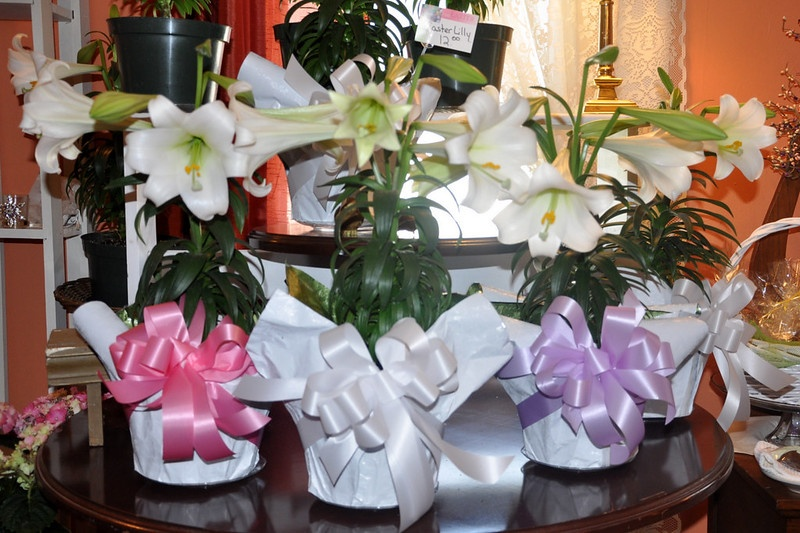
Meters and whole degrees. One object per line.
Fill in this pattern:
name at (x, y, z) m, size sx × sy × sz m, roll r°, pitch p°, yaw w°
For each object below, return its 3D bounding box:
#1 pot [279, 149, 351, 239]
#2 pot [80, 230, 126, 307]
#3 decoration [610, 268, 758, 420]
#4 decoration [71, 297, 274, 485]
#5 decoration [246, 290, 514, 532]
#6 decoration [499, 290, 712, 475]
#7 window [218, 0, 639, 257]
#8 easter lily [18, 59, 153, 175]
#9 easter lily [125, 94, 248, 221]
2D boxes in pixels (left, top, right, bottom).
pot at (-0.230, -0.173, 1.648) m, size 0.210 × 0.190 × 0.218 m, roll 2°, pitch 1°, yaw 0°
pot at (-0.959, 0.007, 1.995) m, size 0.119 × 0.202 × 0.380 m, roll -4°, pitch 12°, yaw -27°
decoration at (0.555, 0.150, 1.328) m, size 0.295 × 0.331 × 0.260 m, roll -3°, pitch 9°, yaw -20°
decoration at (-0.415, 0.197, 1.161) m, size 0.297 × 0.227 × 0.314 m, roll 7°, pitch 7°, yaw 12°
decoration at (-0.038, 0.213, 1.036) m, size 0.478 × 0.313 × 0.358 m, roll -1°, pitch 30°, yaw -13°
decoration at (0.365, 0.210, 1.104) m, size 0.318 × 0.241 × 0.337 m, roll 0°, pitch -15°, yaw 5°
window at (0.028, -0.176, 1.111) m, size 0.659 × 0.398 × 0.335 m, roll 19°, pitch 19°, yaw 10°
easter lily at (-0.592, -0.273, 1.112) m, size 0.167 × 0.210 × 0.276 m, roll -9°, pitch 15°, yaw -44°
easter lily at (-0.347, -0.171, 0.988) m, size 0.184 × 0.196 × 0.071 m, roll 4°, pitch 11°, yaw 13°
